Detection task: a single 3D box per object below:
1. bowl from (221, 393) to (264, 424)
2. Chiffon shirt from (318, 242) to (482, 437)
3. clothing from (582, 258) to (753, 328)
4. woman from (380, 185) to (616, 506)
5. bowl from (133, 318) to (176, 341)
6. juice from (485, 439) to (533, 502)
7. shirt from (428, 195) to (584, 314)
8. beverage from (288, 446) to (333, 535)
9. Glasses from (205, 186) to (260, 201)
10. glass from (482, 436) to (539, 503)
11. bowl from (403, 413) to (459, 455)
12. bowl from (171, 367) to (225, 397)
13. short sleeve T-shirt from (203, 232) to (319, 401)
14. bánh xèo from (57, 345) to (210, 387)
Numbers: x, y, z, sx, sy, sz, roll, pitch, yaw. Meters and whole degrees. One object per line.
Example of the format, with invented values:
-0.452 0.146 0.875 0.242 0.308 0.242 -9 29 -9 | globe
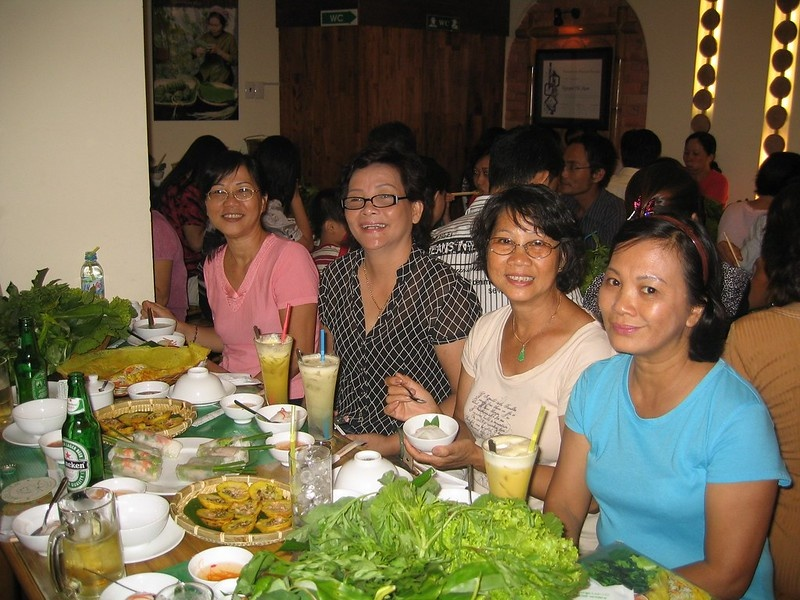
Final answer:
-0.590 0.392 2.221 0.102 0.048 0.105 1 7 0 | bowl
0.001 0.191 2.593 0.649 0.667 0.365 13 26 29 | Chiffon shirt
1.442 -0.043 3.193 0.708 0.292 0.563 -9 -6 7 | clothing
0.446 0.012 2.953 1.039 1.880 0.928 -2 9 -18 | woman
-1.265 0.153 3.068 0.208 0.081 0.376 -4 10 -22 | bowl
0.289 0.442 1.654 0.159 0.186 0.168 -1 5 -1 | juice
0.430 -0.166 2.438 0.556 0.555 0.304 -4 -6 15 | shirt
-0.237 0.490 1.563 0.105 0.185 0.106 2 5 23 | beverage
-0.852 -0.534 3.021 0.228 0.077 0.075 -3 9 -17 | Glasses
0.292 0.442 1.652 0.161 0.187 0.171 -1 2 -2 | glass
0.107 0.439 1.961 0.181 0.079 0.211 -3 9 -13 | bowl
-0.793 0.332 2.317 0.137 0.056 0.138 2 8 0 | bowl
-0.664 0.083 2.859 0.690 0.797 0.397 7 15 23 | short sleeve T-shirt
-1.166 0.276 2.633 0.321 0.104 0.274 -2 3 -9 | bánh xèo
